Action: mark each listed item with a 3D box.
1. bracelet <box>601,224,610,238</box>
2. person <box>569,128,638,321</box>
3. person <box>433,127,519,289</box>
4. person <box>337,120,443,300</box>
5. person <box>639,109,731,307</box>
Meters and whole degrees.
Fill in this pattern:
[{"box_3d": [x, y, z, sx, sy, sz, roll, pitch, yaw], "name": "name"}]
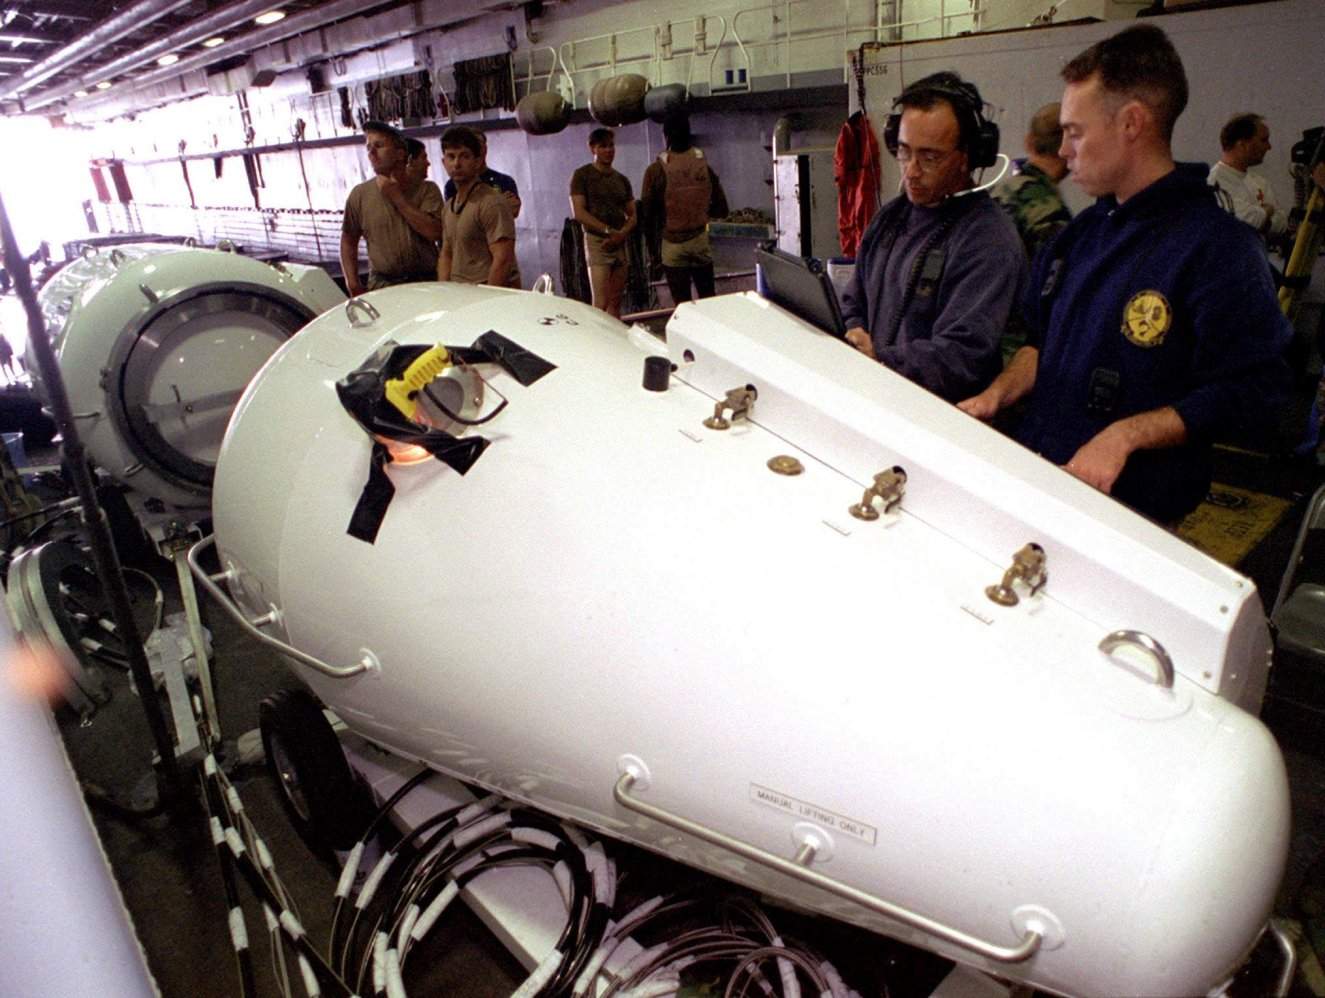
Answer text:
[{"box_3d": [-0.345, -1.628, 5.549, 0.051, 0.043, 0.072, -2, 37, -3], "name": "bracelet"}, {"box_3d": [-0.347, -1.674, 5.679, 0.388, 1.154, 0.444, -5, 21, -4], "name": "person"}, {"box_3d": [-0.925, -1.380, 4.384, 0.392, 0.754, 0.787, -9, 22, -12], "name": "person"}, {"box_3d": [-1.393, -1.442, 4.573, 0.546, 0.825, 0.622, -8, 22, -10], "name": "person"}, {"box_3d": [0.095, -1.768, 5.636, 0.477, 1.086, 0.299, -4, 21, -1], "name": "person"}]
